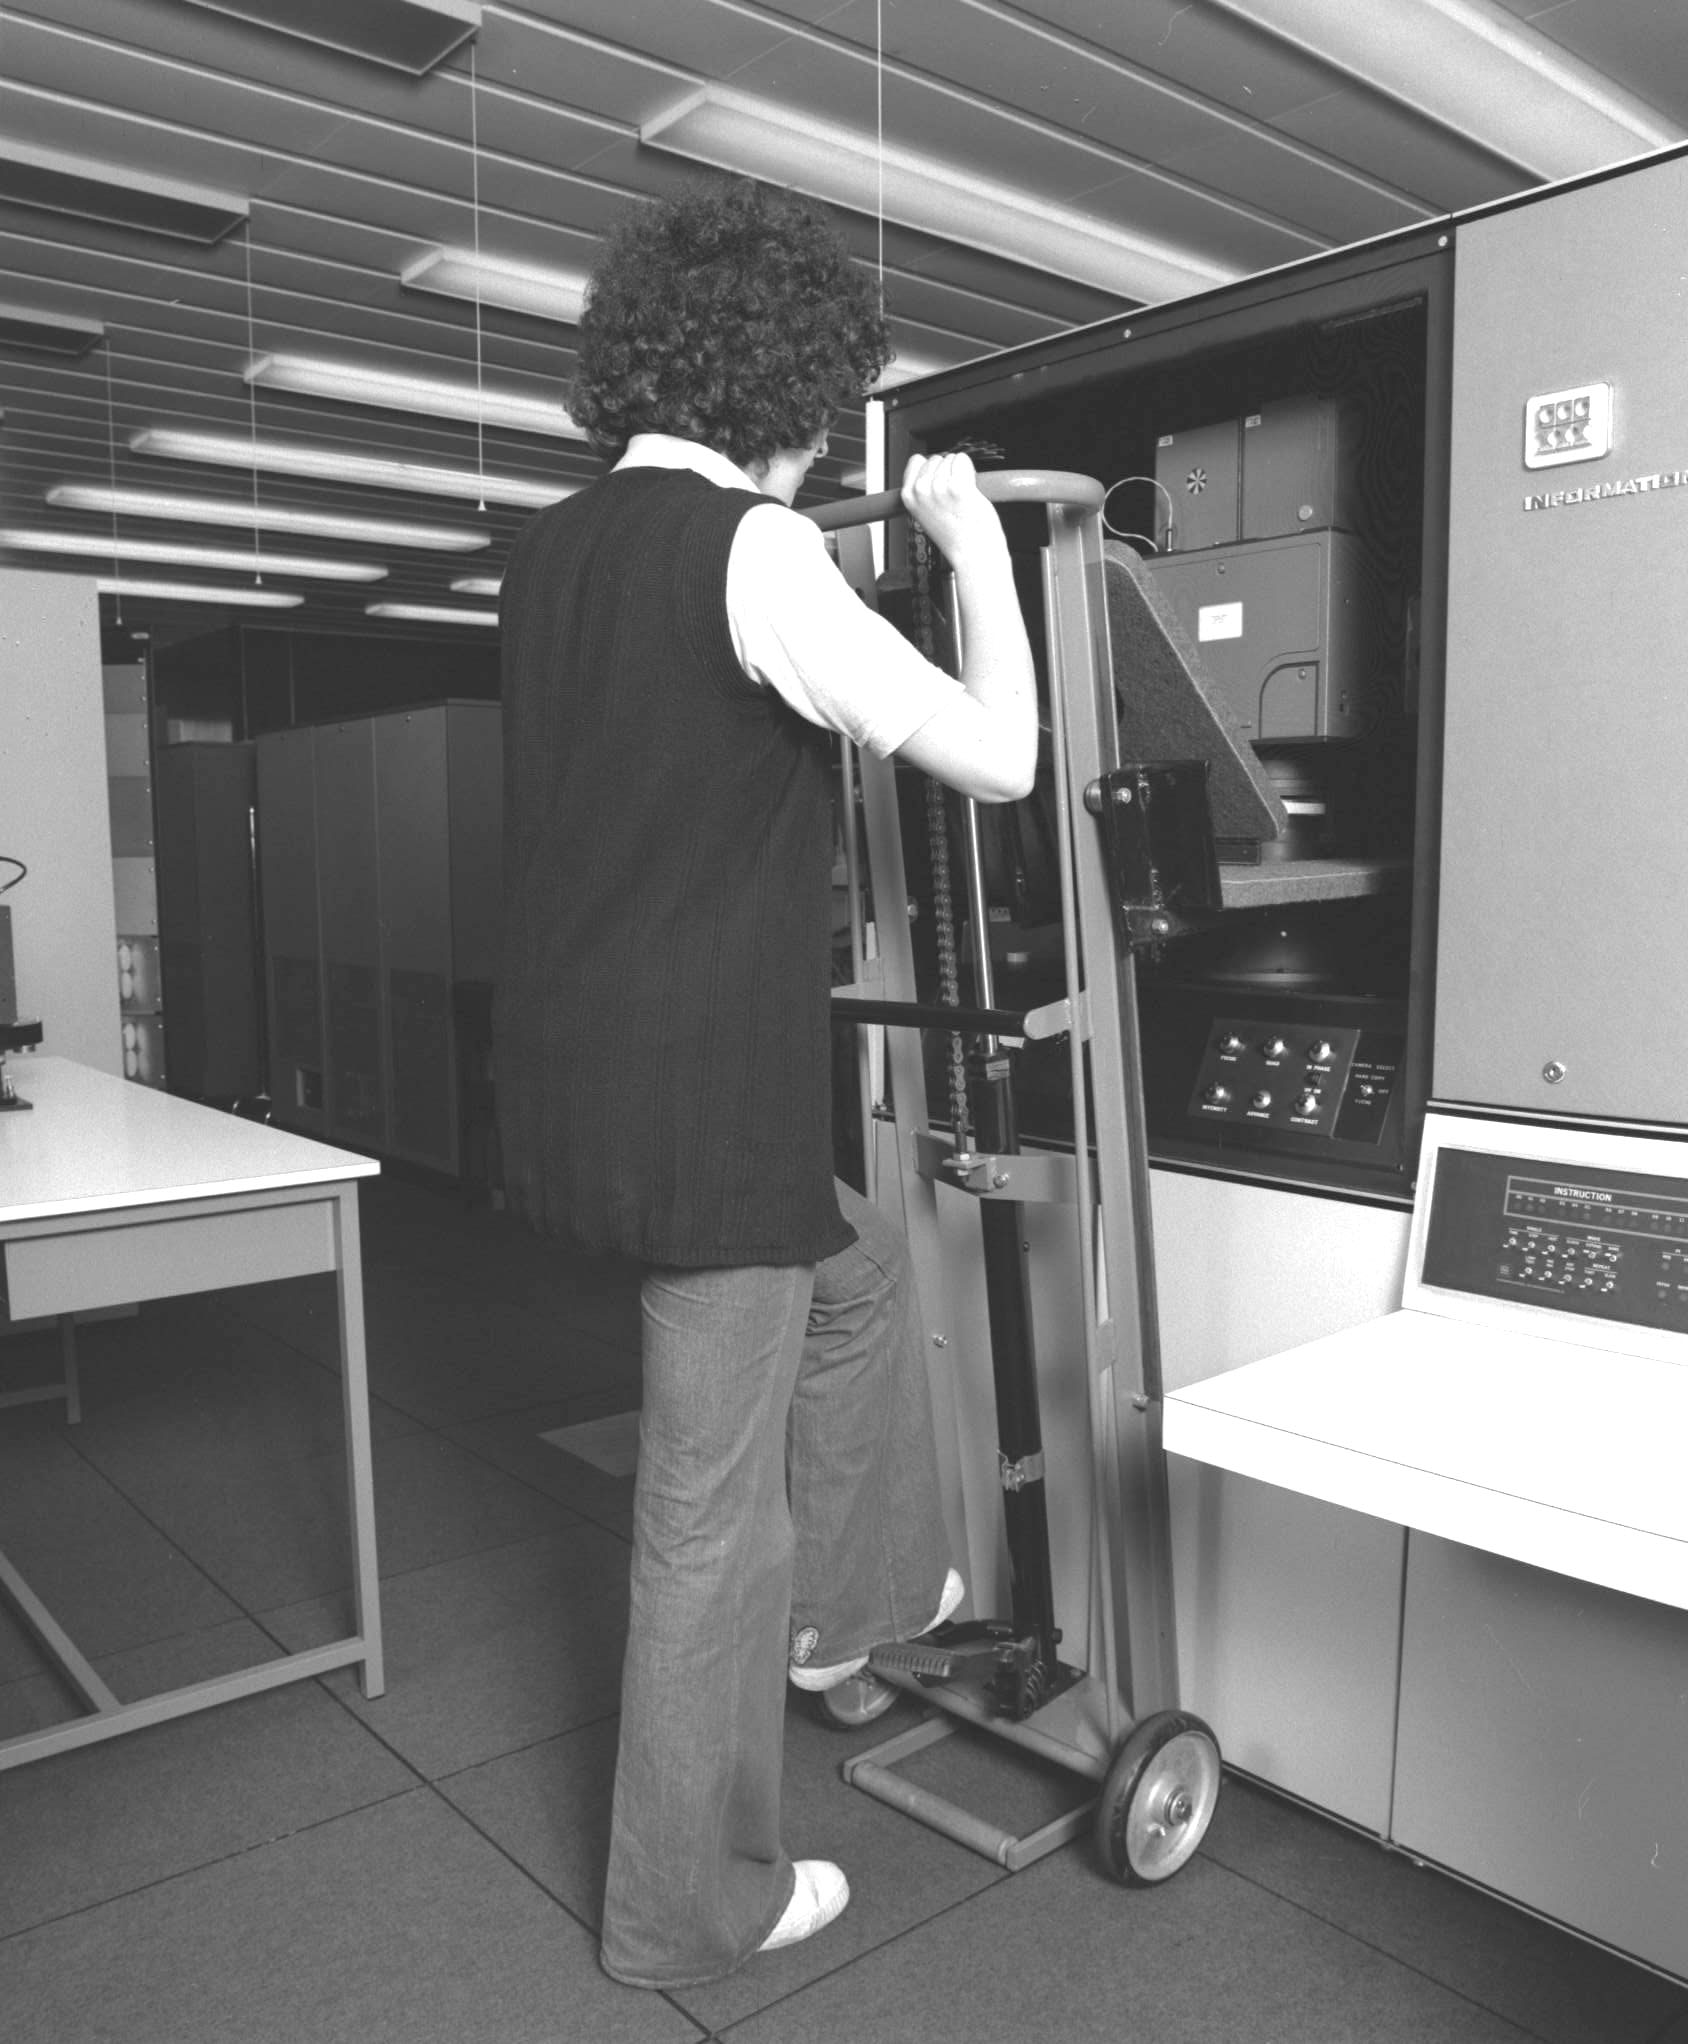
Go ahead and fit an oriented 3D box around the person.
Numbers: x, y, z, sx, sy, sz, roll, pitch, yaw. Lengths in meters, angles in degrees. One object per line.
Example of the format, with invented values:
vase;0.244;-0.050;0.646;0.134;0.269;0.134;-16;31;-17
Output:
person;-0.060;0.111;1.634;0.455;1.662;0.525;-3;4;-30

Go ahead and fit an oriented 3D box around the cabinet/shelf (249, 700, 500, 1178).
cabinet/shelf;-1.837;-0.324;6.918;0.674;2.241;1.921;2;0;-32
